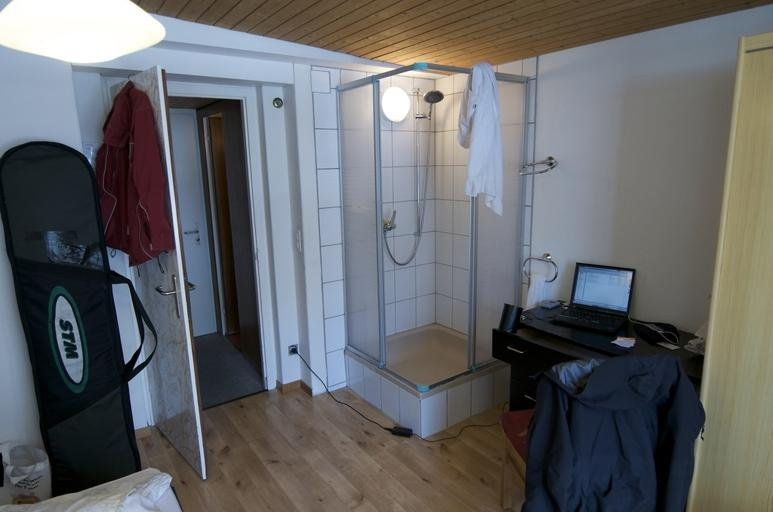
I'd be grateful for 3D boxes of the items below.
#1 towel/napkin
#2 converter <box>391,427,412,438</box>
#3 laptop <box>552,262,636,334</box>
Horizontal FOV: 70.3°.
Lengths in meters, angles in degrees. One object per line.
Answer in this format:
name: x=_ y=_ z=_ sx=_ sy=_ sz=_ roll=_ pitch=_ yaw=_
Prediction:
towel/napkin: x=0.649 y=-0.795 z=3.806 sx=0.283 sy=0.999 sz=0.298 roll=0 pitch=15 yaw=6
converter: x=0.115 y=1.318 z=4.122 sx=0.084 sy=0.024 sz=0.085 roll=8 pitch=9 yaw=30
laptop: x=1.440 y=0.314 z=3.783 sx=0.474 sy=0.481 sz=0.352 roll=15 pitch=16 yaw=38
